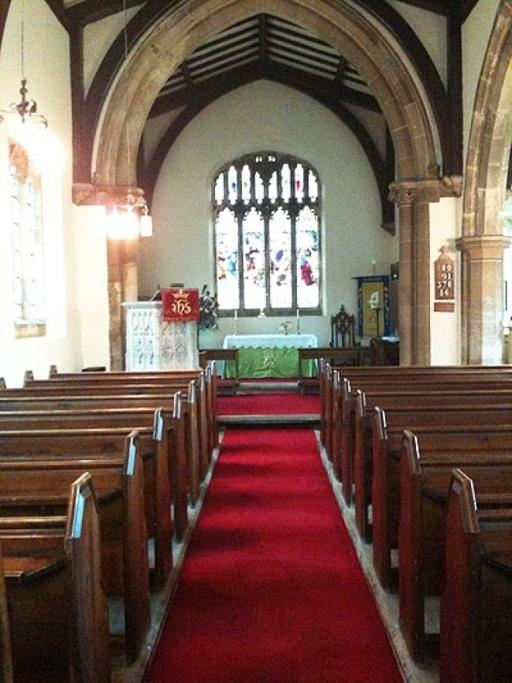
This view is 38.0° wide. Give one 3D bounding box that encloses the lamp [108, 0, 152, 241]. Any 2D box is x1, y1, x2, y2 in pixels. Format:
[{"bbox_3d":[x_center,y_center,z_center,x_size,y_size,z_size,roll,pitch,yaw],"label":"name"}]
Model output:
[{"bbox_3d":[-1.353,-2.203,7.759,0.485,2.346,2.010,-2,4,-11],"label":"lamp"}]
